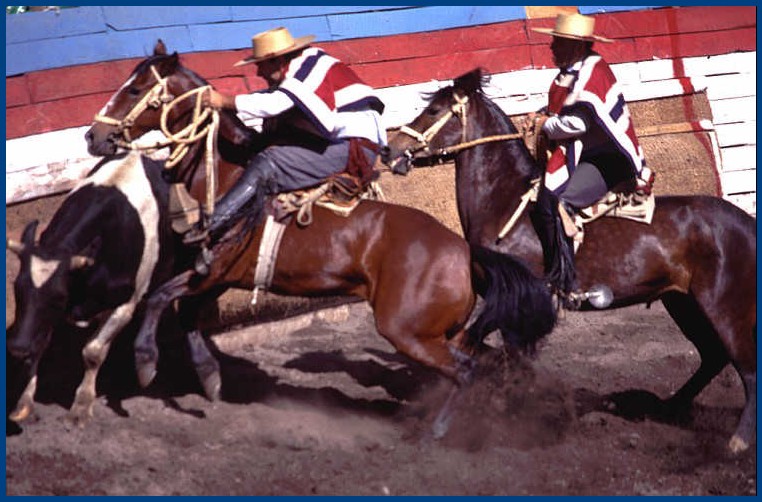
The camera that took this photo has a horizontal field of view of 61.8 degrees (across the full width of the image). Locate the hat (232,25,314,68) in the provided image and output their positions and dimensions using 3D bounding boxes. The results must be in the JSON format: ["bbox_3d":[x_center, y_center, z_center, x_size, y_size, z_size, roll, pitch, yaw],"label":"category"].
[{"bbox_3d":[-0.533,-1.087,3.309,0.350,0.116,0.407,-14,13,-1],"label":"hat"}]

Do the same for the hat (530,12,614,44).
[{"bbox_3d":[1.026,-1.168,3.379,0.302,0.077,0.298,9,13,-22],"label":"hat"}]

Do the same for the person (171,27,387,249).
[{"bbox_3d":[-0.496,-0.600,3.376,1.045,1.052,0.634,0,8,4],"label":"person"}]
